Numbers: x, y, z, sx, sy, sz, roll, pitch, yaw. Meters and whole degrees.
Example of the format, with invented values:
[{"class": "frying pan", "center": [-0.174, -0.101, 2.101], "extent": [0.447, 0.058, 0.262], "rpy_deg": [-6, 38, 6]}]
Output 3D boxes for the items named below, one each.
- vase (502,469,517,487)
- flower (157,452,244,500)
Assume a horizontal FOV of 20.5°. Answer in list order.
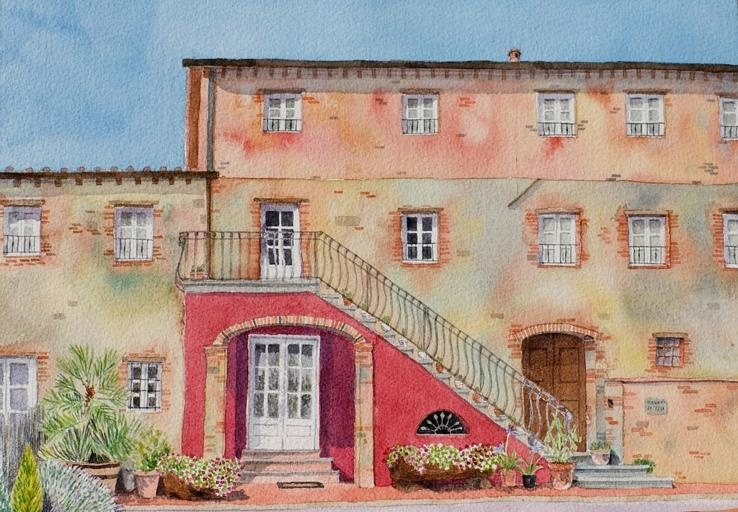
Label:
[{"class": "vase", "center": [3.764, 6.081, 55.881], "extent": [0.381, 0.448, 0.394], "rpy_deg": [8, -11, -40]}, {"class": "flower", "center": [-4.592, 5.985, 55.151], "extent": [2.086, 1.159, 0.757], "rpy_deg": [3, -7, -10]}]
